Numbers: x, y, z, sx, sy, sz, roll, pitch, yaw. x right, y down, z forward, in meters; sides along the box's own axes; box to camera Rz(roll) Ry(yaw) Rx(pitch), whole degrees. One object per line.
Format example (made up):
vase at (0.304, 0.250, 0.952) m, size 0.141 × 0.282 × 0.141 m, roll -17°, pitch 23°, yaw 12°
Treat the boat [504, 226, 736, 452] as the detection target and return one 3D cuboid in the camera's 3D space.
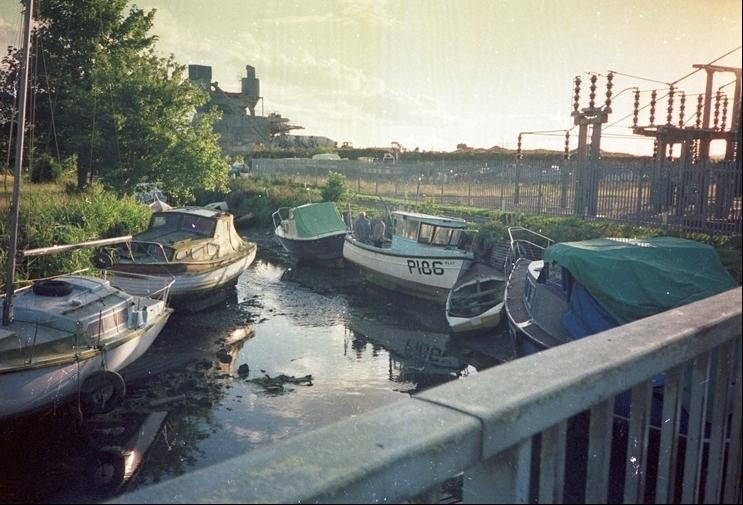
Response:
boat at (5.090, 0.971, 15.275) m, size 2.661 × 2.452 × 7.930 m, roll -2°, pitch 9°, yaw -2°
